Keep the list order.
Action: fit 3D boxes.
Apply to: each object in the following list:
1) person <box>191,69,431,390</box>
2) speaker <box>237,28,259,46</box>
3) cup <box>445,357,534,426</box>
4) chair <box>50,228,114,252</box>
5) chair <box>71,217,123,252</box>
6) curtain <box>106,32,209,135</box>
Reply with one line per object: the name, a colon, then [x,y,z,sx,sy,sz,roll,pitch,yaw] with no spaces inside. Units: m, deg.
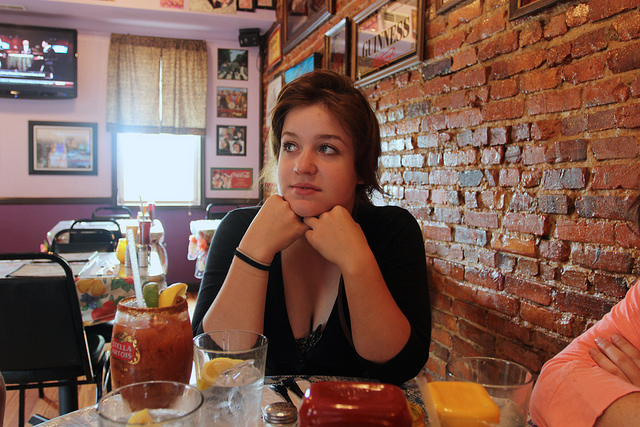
person: [-0.022,0.025,1.757,0.874,1.175,0.603,2,8,14]
speaker: [-0.830,-2.062,5.306,0.292,0.199,0.149,-2,38,-2]
cup: [0.421,0.401,1.110,0.162,0.126,0.172,3,-7,0]
chair: [-1.742,0.193,3.371,0.401,0.181,0.364,-2,8,-16]
chair: [-2.003,0.156,4.171,0.486,0.206,0.369,3,-2,-15]
curtain: [-1.856,-1.501,5.251,1.172,1.099,0.094,2,2,-3]
